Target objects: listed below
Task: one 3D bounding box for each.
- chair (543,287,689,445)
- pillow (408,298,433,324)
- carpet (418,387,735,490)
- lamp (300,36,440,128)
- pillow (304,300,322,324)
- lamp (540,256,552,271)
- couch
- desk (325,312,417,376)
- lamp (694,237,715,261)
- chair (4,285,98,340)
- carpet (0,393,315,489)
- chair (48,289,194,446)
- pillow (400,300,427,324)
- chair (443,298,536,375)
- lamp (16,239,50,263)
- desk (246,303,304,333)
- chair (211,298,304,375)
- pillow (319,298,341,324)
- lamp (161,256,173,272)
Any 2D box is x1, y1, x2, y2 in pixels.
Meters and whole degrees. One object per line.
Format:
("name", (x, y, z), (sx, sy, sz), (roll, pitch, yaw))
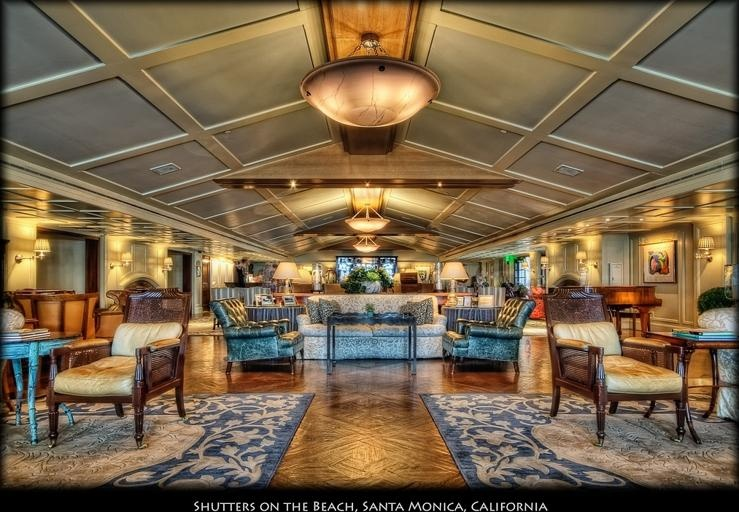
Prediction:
("chair", (2.462, 1.052, 4.456), (1.138, 0.987, 1.135), (-1, 8, -21))
("pillow", (0.888, 0.983, 7.472), (0.575, 0.493, 0.231), (-4, -5, 11))
("carpet", (2.039, 1.761, 4.258), (2.832, 0.069, 1.814), (0, 4, 1))
("lamp", (-0.071, -1.924, 4.509), (1.859, 0.777, 1.463), (7, 29, 3))
("pillow", (-1.010, 1.007, 7.597), (0.468, 0.331, 0.135), (-4, -1, 33))
("lamp", (6.246, 0.284, 15.191), (0.324, 0.559, 0.852), (2, 5, 21))
("couch", (0.019, 1.253, 7.736), (2.617, 0.825, 0.967), (1, 10, -5))
("desk", (0.030, 1.331, 6.829), (1.434, 0.666, 0.710), (1, -13, -1))
("lamp", (7.230, -0.150, 9.218), (0.297, 0.544, 0.515), (4, 7, 35))
("chair", (-4.601, 0.830, 6.174), (1.227, 0.818, 1.078), (1, 6, -6))
("carpet", (-1.995, 1.761, 4.248), (2.570, 0.065, 1.764), (0, 4, 1))
("chair", (-2.536, 1.069, 4.437), (1.146, 1.050, 1.148), (-2, 5, -1))
("pillow", (0.763, 0.975, 7.346), (0.507, 0.314, 0.238), (1, -23, 29))
("chair", (1.875, 1.251, 6.764), (1.371, 1.174, 0.942), (1, 5, 9))
("lamp", (-7.329, -0.104, 9.332), (0.478, 0.510, 0.571), (0, 5, -4))
("desk", (-1.829, 1.335, 8.175), (1.238, 0.616, 0.556), (0, -9, -2))
("chair", (-1.815, 1.270, 6.909), (1.343, 1.214, 1.088), (0, 5, -3))
("pillow", (-0.704, 0.952, 7.269), (0.182, 0.314, 0.495), (-19, -14, 31))
("lamp", (-6.680, 0.278, 14.069), (0.254, 0.495, 0.379), (-2, 6, -20))
